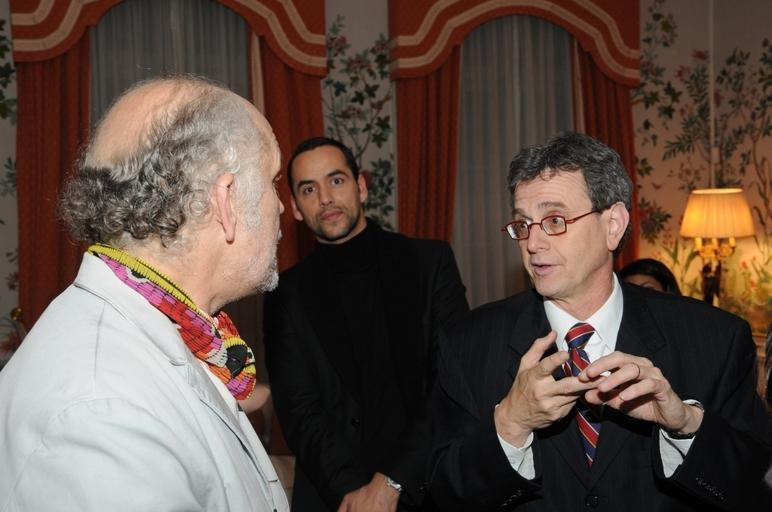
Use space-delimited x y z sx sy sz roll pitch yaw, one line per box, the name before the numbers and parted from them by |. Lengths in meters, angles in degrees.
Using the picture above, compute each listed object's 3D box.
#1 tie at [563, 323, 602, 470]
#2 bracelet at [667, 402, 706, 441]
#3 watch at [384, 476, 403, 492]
tie | 0.698 0.492 2.217 0.115 0.591 0.074 -2 -2 6
bracelet | 0.993 0.540 2.088 0.096 0.073 0.136 8 1 10
watch | 0.033 0.937 2.596 0.023 0.064 0.047 -45 8 4
